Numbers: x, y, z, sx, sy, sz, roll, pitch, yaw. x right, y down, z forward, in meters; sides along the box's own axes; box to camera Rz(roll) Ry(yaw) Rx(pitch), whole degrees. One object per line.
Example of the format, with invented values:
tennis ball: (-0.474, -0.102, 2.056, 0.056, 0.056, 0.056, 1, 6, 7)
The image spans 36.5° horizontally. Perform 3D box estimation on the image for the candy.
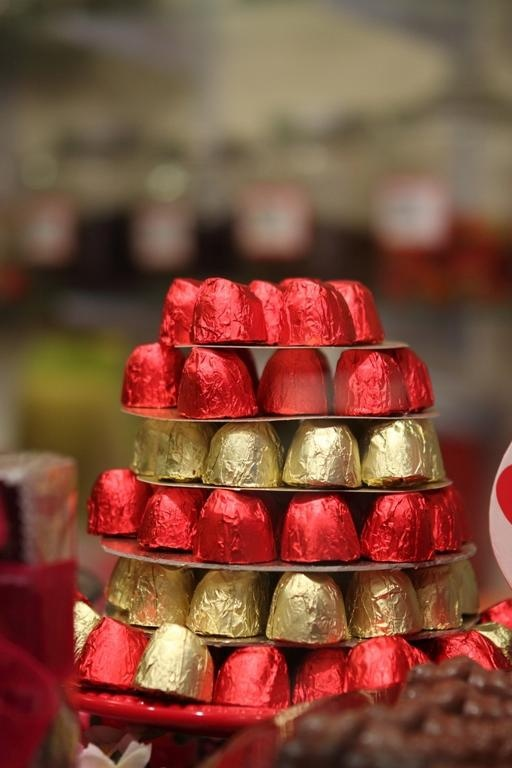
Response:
candy: (0.057, 0.154, 1.274, 0.728, 0.678, 0.455, -5, 7, -5)
